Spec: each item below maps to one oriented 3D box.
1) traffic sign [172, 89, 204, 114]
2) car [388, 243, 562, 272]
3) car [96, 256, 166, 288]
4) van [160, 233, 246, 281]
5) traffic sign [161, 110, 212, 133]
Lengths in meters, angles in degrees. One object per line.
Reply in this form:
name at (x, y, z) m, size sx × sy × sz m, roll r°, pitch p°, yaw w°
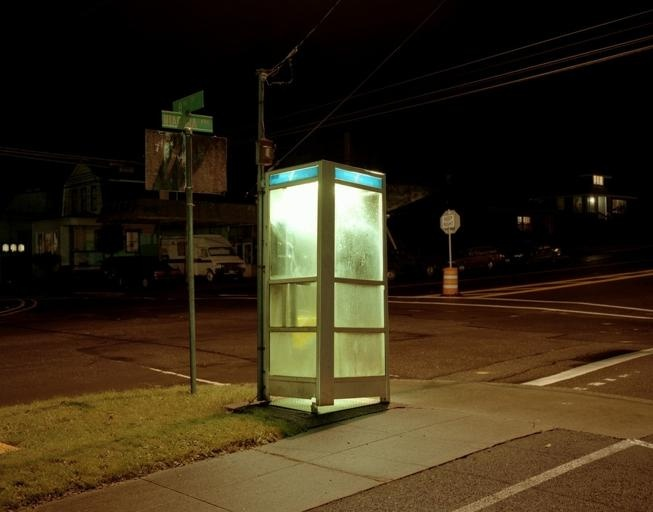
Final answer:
traffic sign at (-1.901, -2.115, 9.066) m, size 0.338 × 0.241 × 0.748 m, roll 1°, pitch -3°, yaw -21°
car at (9.950, 0.114, 43.151) m, size 8.206 × 0.989 × 1.434 m, roll -6°, pitch 4°, yaw -36°
car at (-11.127, 0.910, 37.488) m, size 2.766 × 1.468 × 1.677 m, roll 4°, pitch 3°, yaw 31°
van at (-7.984, 0.103, 41.798) m, size 5.940 × 2.929 × 2.711 m, roll 1°, pitch 3°, yaw 41°
traffic sign at (-1.970, -1.903, 9.236) m, size 0.669 × 0.323 × 0.360 m, roll 0°, pitch -2°, yaw -6°
